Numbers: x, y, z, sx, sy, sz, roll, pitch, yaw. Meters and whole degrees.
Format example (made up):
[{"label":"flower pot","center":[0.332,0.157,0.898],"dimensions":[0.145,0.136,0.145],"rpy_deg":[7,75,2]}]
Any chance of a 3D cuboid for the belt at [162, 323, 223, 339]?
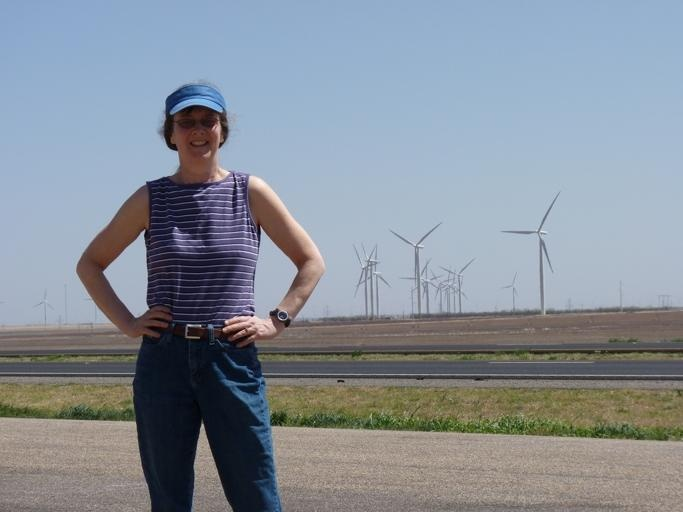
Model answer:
[{"label":"belt","center":[-1.685,0.875,13.229],"dimensions":[0.614,0.206,0.100],"rpy_deg":[-1,-4,10]}]
